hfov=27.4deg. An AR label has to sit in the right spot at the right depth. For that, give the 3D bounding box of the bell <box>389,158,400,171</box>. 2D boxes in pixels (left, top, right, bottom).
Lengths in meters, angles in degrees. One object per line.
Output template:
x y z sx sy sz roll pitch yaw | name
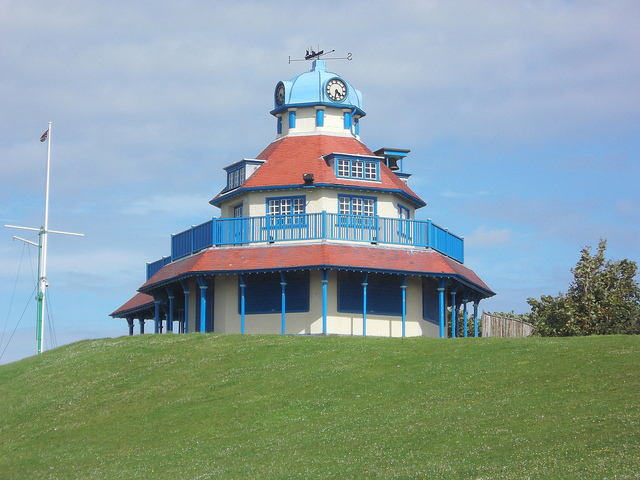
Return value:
4.473 -4.575 79.761 0.525 0.828 0.442 3 -11 -15 | bell
